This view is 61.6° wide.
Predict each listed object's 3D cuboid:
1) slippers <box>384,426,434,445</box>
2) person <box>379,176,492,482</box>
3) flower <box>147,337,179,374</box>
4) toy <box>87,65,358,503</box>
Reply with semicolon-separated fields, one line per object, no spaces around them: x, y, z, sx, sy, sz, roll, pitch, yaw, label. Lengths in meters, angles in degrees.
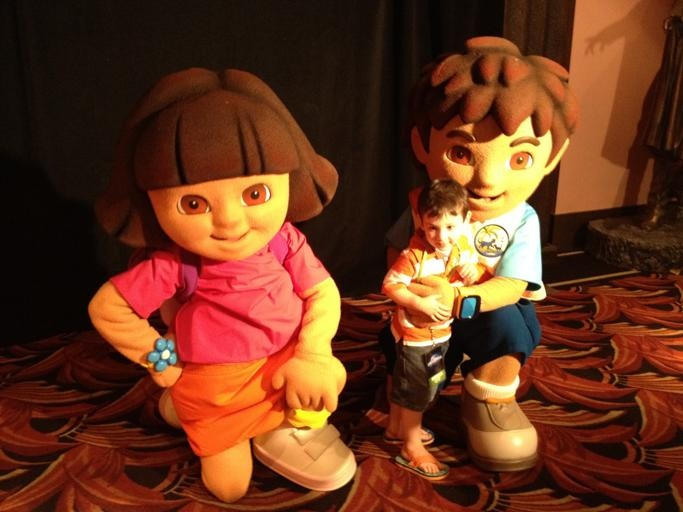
0.197;0.541;1.685;0.115;0.044;0.059;-4;13;-1;slippers
0.246;0.186;1.576;0.246;0.786;0.340;7;26;26;person
-0.453;0.253;1.459;0.078;0.084;0.028;4;-1;-39;flower
-0.269;0.079;1.581;0.639;1.124;0.494;6;32;5;toy
